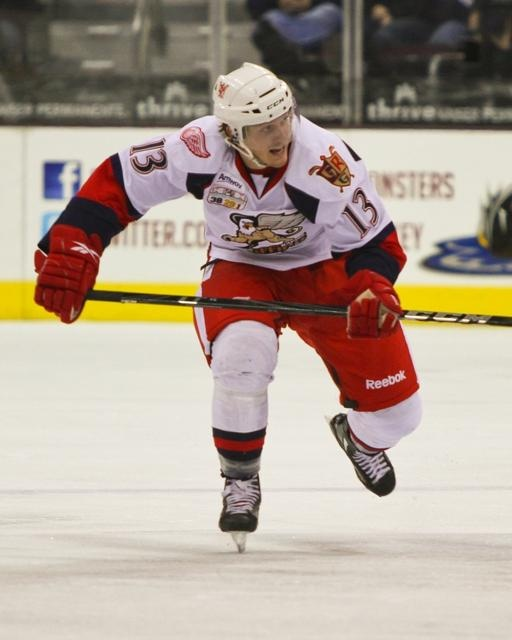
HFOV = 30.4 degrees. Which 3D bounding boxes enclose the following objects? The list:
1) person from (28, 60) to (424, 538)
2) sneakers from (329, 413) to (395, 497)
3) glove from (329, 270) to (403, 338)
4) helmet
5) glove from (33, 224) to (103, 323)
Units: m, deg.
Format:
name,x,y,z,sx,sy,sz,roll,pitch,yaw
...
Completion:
name,x,y,z,sx,sy,sz,roll,pitch,yaw
person,-0.037,-0.057,2.403,0.983,1.163,0.553,-3,17,-10
sneakers,0.315,0.402,2.651,0.106,0.283,0.119,-38,0,2
glove,0.282,-0.031,2.314,0.174,0.073,0.178,3,7,-2
helmet,-0.011,-0.512,2.353,0.193,0.260,0.253,-6,17,-21
glove,-0.468,-0.107,2.345,0.139,0.247,0.145,1,17,4
